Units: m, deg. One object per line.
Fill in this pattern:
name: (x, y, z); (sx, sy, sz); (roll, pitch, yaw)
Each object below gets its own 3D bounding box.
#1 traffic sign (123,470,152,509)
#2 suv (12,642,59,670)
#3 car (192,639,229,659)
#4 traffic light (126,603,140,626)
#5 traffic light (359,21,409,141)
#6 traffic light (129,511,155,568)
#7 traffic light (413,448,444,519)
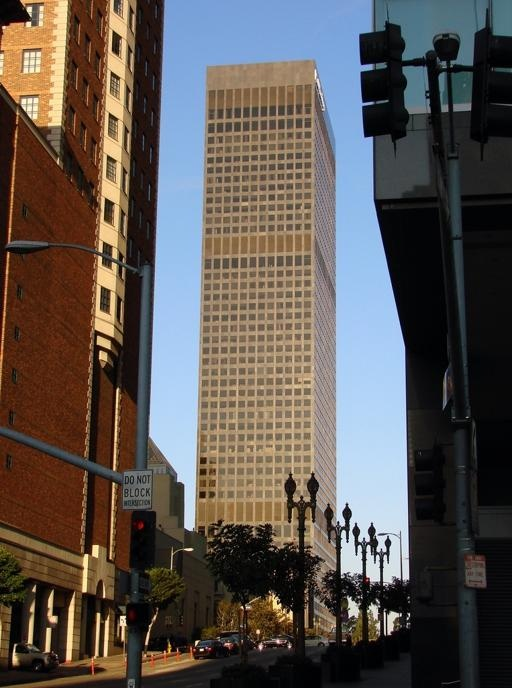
traffic sign: (-1.832, 2.266, 15.698); (0.476, 0.886, 0.076); (-2, -1, 19)
suv: (-10.852, 15.396, 49.514); (1.832, 1.244, 1.197); (-3, -8, 4)
car: (-3.041, 20.172, 66.430); (1.311, 1.518, 4.143); (-7, -22, 19)
traffic light: (-1.825, 4.052, 15.121); (0.183, 0.317, 0.221); (2, -18, -6)
traffic light: (1.159, -2.455, 9.167); (0.400, 1.204, 0.724); (-3, -18, 9)
traffic light: (-1.729, 2.983, 15.422); (0.432, 0.901, 0.339); (-4, -17, 11)
traffic light: (2.248, 1.809, 13.084); (0.248, 0.891, 0.999); (-2, -58, 8)
